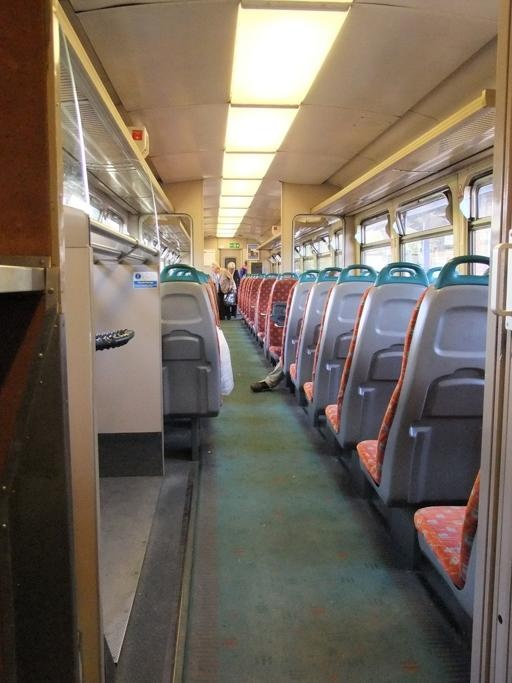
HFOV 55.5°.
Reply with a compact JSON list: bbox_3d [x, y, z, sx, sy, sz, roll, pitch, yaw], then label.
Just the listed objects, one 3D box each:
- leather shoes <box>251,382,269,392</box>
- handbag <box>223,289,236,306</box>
[{"bbox_3d":[0.051,0.534,5.651,0.239,0.112,0.084,6,-9,-30],"label":"leather shoes"},{"bbox_3d":[-0.777,-1.293,14.495,0.343,0.879,0.599,1,14,-4],"label":"handbag"}]
